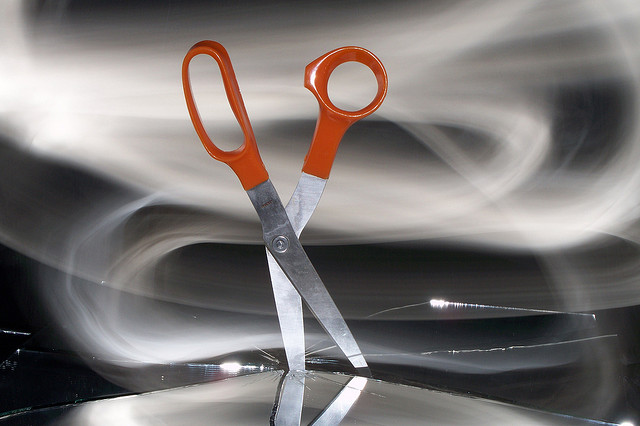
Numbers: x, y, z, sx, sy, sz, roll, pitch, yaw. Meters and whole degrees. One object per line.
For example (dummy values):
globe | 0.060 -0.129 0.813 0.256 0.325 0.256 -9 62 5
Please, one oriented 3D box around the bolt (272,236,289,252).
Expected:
bolt | -0.042 0.033 0.599 0.017 0.010 0.013 8 -52 -4
